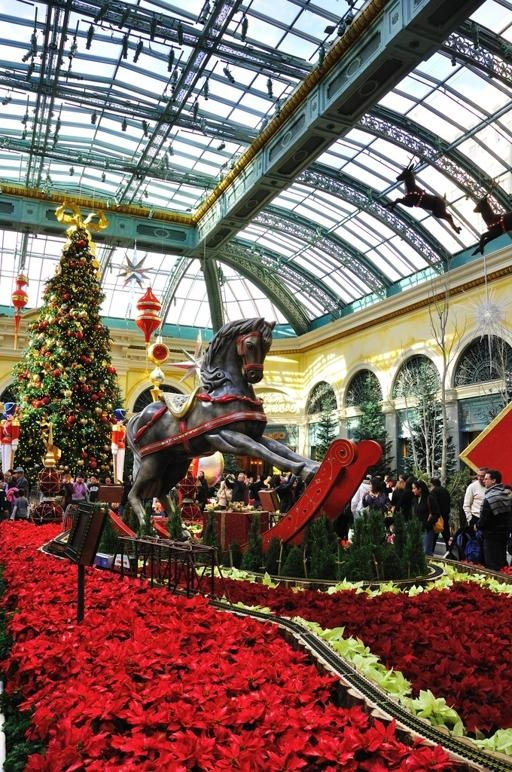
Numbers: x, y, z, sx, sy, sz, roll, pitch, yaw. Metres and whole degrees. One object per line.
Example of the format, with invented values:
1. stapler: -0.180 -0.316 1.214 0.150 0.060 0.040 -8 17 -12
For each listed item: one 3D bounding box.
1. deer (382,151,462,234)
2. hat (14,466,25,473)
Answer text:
1. deer: 3.544 -4.120 11.052 0.962 1.372 2.548 -2 -8 29
2. hat: -4.504 1.585 10.132 0.160 0.113 0.231 5 -3 -35
